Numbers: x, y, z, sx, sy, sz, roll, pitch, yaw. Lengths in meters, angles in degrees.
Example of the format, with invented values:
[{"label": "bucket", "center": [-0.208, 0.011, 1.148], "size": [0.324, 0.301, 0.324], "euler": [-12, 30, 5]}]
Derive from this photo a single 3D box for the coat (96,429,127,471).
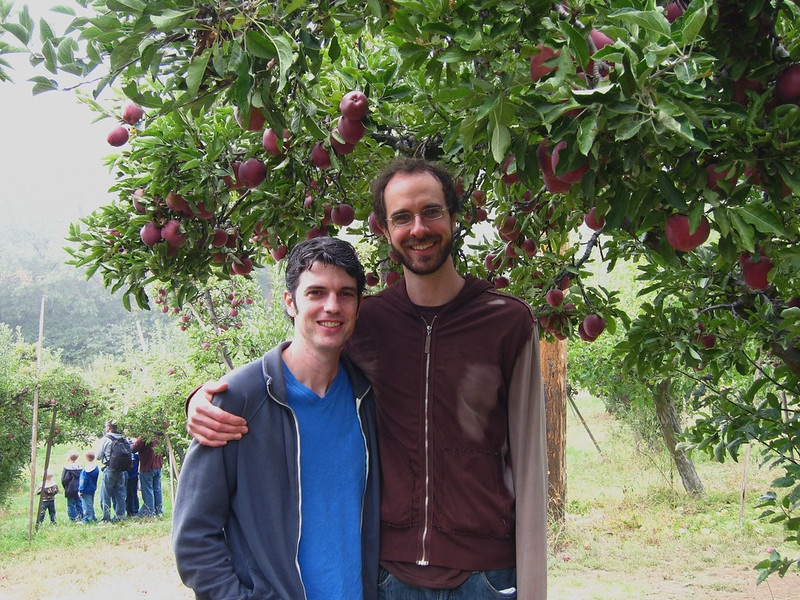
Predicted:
[{"label": "coat", "center": [-5.206, 2.800, 12.538], "size": [0.585, 0.646, 0.407], "euler": [8, 0, 39]}]
